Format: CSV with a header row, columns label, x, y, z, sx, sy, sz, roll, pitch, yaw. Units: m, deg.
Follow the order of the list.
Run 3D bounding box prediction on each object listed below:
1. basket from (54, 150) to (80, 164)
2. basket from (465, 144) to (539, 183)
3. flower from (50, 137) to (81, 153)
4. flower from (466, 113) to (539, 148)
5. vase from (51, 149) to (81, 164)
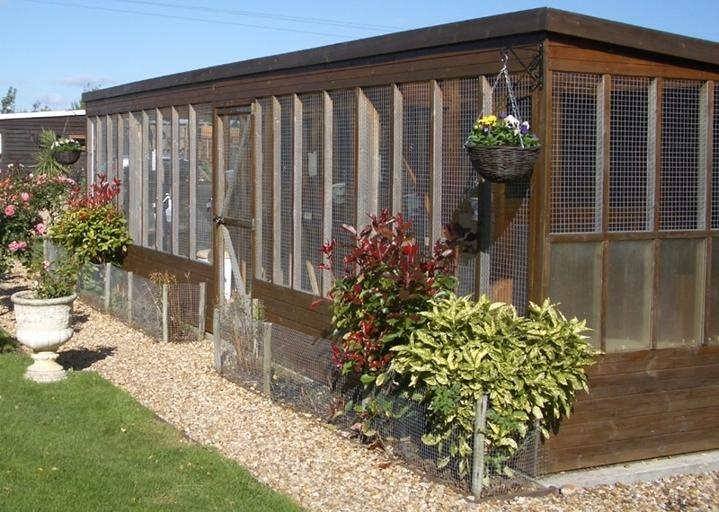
label,x,y,z,sx,sy,sz,roll,pitch,yaw
basket,-8.971,-3.013,20.509,0.496,0.278,0.497,-2,2,-38
basket,1.190,-0.774,5.592,0.391,0.191,0.401,0,0,-12
flower,-9.091,-3.351,20.481,0.702,0.348,0.721,5,7,23
flower,1.260,-1.052,5.778,0.524,0.222,0.555,7,15,9
vase,-8.995,-3.012,20.506,0.533,0.302,0.532,-1,0,-41
